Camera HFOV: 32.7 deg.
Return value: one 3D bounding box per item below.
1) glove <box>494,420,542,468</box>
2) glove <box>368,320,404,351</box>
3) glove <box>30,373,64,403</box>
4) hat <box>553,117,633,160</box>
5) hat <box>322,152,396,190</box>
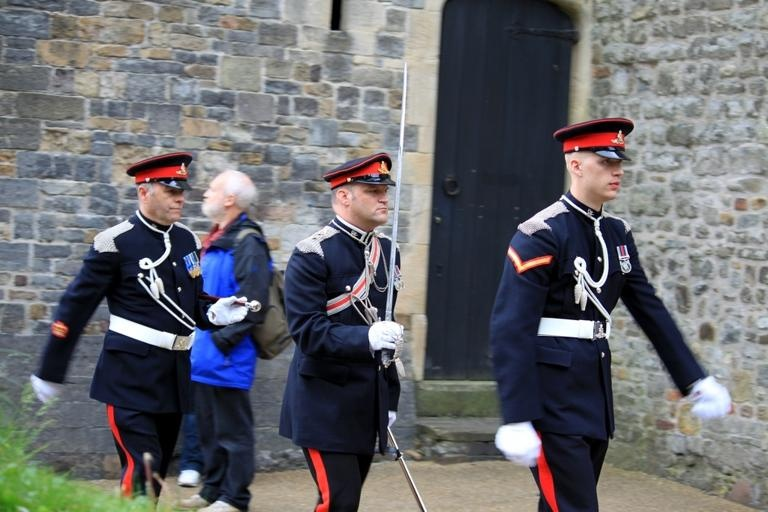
[{"bbox_3d":[0.878,1.196,8.427,0.308,0.292,0.153,4,5,0],"label":"glove"},{"bbox_3d":[-0.005,0.515,8.551,0.227,0.202,0.201,4,5,0],"label":"glove"},{"bbox_3d":[-2.399,0.935,9.034,0.188,0.238,0.615,3,3,-15],"label":"glove"},{"bbox_3d":[1.443,-0.768,8.818,0.580,0.176,0.508,1,-1,33],"label":"hat"},{"bbox_3d":[-0.163,-0.558,8.939,0.471,0.142,0.516,-4,-4,-42],"label":"hat"}]
